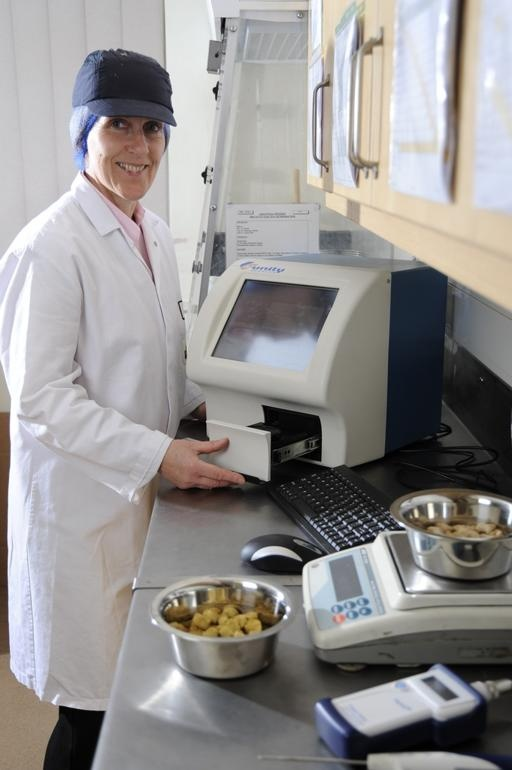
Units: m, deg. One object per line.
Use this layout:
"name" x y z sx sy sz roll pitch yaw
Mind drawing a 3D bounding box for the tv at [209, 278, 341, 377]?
"tv" 0.034 -0.124 1.337 0.237 0.213 0.064 15 -7 38

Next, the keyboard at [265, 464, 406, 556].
"keyboard" 0.135 0.208 1.074 0.155 0.032 0.268 -10 17 -22

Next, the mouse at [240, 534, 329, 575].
"mouse" 0.036 0.236 0.907 0.097 0.034 0.056 0 14 -5

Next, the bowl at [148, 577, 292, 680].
"bowl" -0.036 0.269 0.713 0.152 0.059 0.160 -1 10 0

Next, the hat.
"hat" -0.289 -0.655 1.379 0.198 0.131 0.265 -3 28 -14
